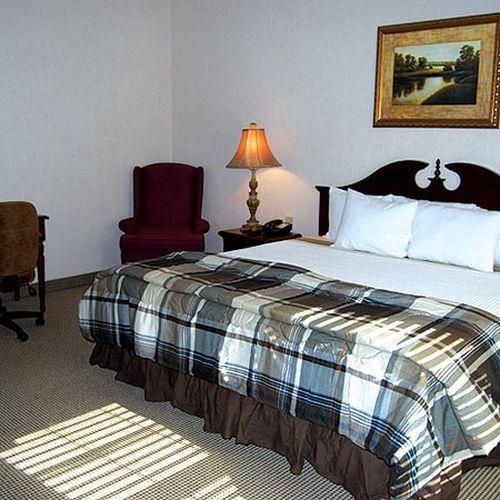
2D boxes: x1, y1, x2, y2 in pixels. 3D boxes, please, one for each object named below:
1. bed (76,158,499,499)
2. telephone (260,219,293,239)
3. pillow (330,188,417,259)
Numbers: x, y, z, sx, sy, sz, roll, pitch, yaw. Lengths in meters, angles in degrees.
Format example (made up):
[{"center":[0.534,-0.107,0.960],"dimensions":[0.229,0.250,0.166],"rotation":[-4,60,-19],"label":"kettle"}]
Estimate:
[{"center":[0.403,0.201,2.190],"dimensions":[1.291,0.767,1.290],"rotation":[-12,19,-42],"label":"bed"},{"center":[0.248,-0.197,3.931],"dimensions":[0.194,0.127,0.260],"rotation":[-6,10,-36],"label":"telephone"},{"center":[0.853,-0.216,2.988],"dimensions":[0.541,0.452,0.165],"rotation":[11,-7,46],"label":"pillow"}]
